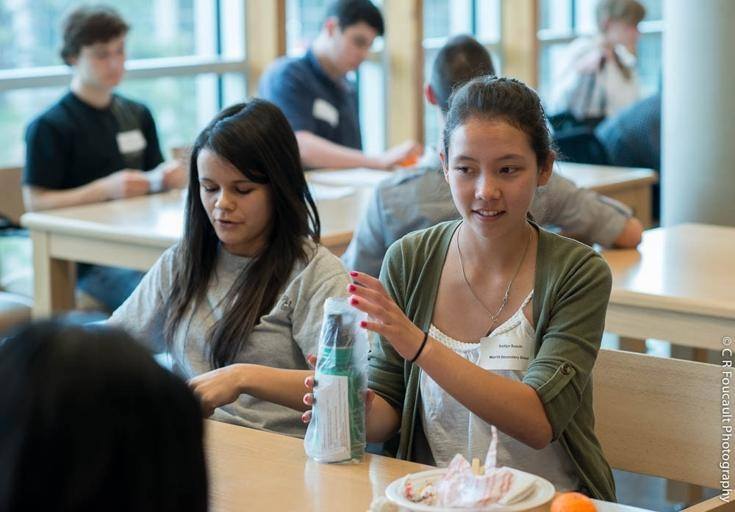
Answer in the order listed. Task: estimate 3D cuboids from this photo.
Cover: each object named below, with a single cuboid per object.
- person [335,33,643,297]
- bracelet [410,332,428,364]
[{"bbox_3d":[0.439,-0.234,2.531,1.232,0.964,0.907,5,8,37],"label":"person"},{"bbox_3d":[0.097,0.173,1.218,0.036,0.056,0.026,-4,6,-12],"label":"bracelet"}]
